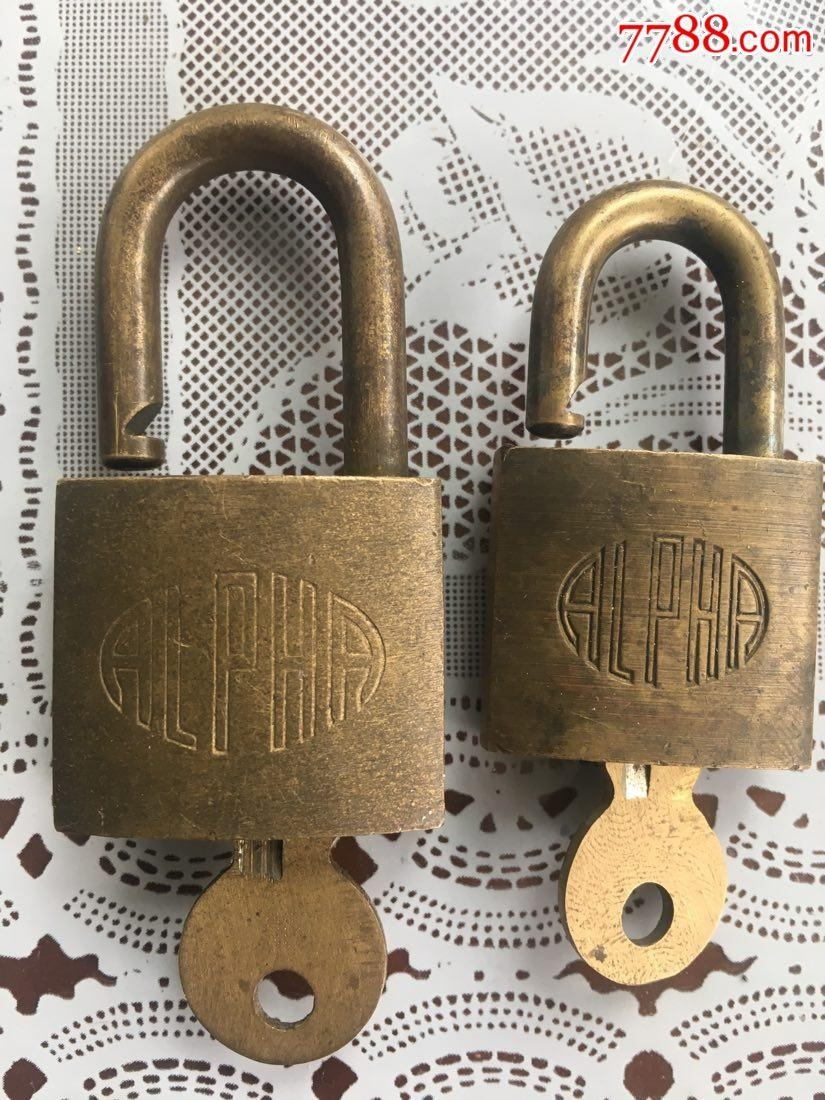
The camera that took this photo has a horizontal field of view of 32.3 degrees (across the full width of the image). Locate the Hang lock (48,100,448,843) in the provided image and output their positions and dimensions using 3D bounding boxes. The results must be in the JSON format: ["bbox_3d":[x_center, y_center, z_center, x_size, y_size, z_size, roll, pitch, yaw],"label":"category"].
[{"bbox_3d":[-0.128,-0.056,1.104,0.308,0.537,0.073,0,11,-4],"label":"Hang lock"}]
